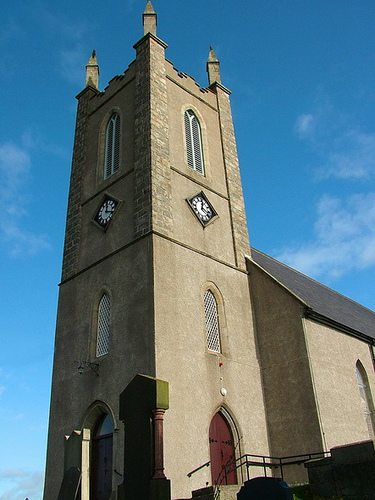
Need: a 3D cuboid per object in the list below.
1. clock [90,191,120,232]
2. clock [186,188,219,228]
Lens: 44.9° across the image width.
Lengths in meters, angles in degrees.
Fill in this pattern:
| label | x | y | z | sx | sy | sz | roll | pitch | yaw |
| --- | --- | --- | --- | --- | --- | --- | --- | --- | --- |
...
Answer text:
| label | x | y | z | sx | sy | sz | roll | pitch | yaw |
| --- | --- | --- | --- | --- | --- | --- | --- | --- | --- |
| clock | -3.288 | -1.467 | 18.040 | 0.135 | 1.394 | 1.591 | 24 | -85 | -34 |
| clock | 0.530 | -1.611 | 18.199 | 0.109 | 1.493 | 1.700 | -29 | -22 | 25 |
